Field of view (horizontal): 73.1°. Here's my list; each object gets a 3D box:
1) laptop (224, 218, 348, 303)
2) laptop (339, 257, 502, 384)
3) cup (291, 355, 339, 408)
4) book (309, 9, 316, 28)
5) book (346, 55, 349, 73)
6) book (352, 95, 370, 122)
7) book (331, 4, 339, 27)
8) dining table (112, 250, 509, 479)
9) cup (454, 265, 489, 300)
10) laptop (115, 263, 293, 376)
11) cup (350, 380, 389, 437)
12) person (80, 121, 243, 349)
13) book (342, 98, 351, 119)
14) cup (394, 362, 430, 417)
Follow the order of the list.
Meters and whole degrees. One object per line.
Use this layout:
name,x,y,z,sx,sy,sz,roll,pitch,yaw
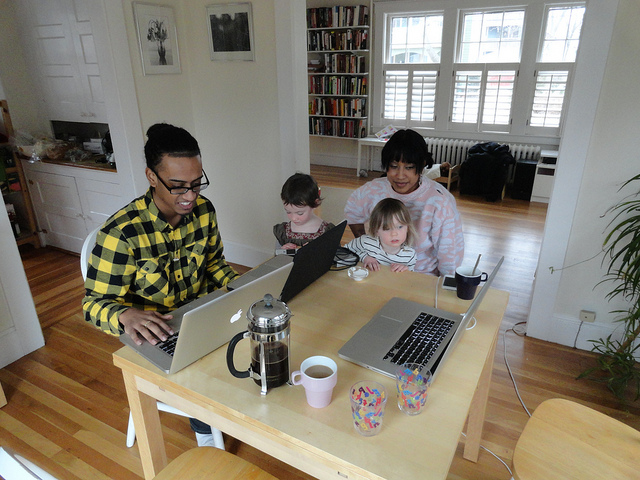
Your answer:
laptop,-0.051,0.125,2.179,0.408,0.255,0.251,-4,27,-39
laptop,0.442,0.269,1.779,0.499,0.346,0.648,13,19,30
cup,-0.030,0.537,1.574,0.165,0.124,0.116,1,8,-2
book,-0.122,-3.707,7.244,0.033,0.276,0.144,-16,27,-35
book,0.469,-2.952,7.279,0.048,0.254,0.024,9,24,22
book,0.719,-2.264,7.445,0.302,0.417,0.178,0,22,1
book,0.251,-3.662,7.070,0.092,0.253,0.262,-3,26,-1
dining table,0.033,0.543,2.004,1.402,0.998,1.117,10,24,23
cup,0.723,0.203,2.115,0.177,0.132,0.124,8,26,25
laptop,-0.487,0.280,1.892,0.470,0.349,0.596,19,24,30
cup,0.166,0.578,1.553,0.148,0.166,0.144,-2,23,1
person,-0.739,-0.060,2.126,0.518,0.913,0.941,18,26,21
book,0.466,-2.277,7.477,0.233,0.322,0.317,4,18,15
cup,0.347,0.563,1.597,0.132,0.157,0.143,5,-8,1
